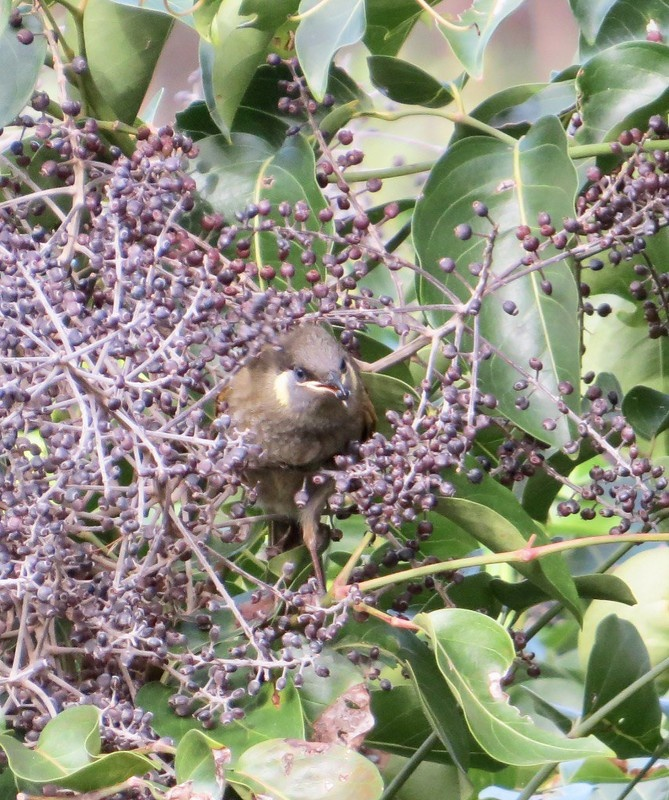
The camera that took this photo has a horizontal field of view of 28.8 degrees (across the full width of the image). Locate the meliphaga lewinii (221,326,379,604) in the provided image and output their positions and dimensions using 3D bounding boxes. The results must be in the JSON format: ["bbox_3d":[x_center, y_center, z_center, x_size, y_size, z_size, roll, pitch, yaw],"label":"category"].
[{"bbox_3d":[-0.069,0.068,2.229,0.299,0.494,0.375,-1,98,-13],"label":"meliphaga lewinii"}]
